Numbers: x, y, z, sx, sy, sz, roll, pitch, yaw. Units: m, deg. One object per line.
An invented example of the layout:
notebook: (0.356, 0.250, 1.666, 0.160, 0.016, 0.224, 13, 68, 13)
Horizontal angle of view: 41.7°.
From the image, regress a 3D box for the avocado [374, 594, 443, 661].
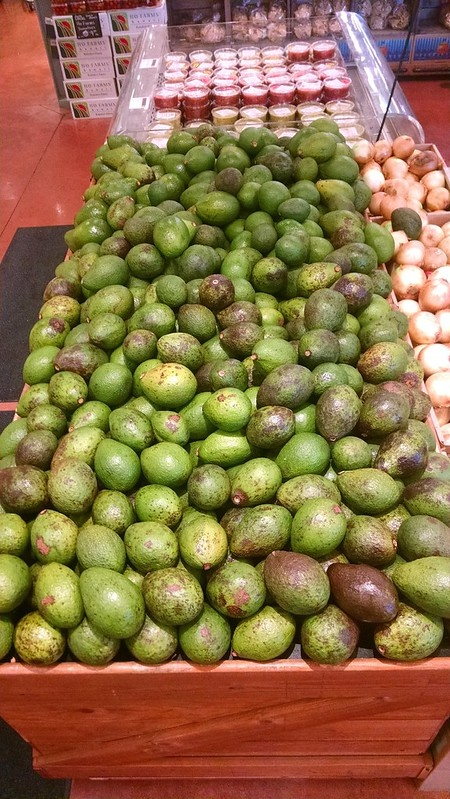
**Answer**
avocado: (0.468, 0.606, 1.514, 0.147, 0.093, 0.116, -15, 34, -25)

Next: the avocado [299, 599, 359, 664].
avocado: (0.269, 0.608, 1.497, 0.115, 0.134, 0.157, 4, 21, 22)

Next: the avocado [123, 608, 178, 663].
avocado: (-0.180, 0.616, 1.509, 0.129, 0.106, 0.101, -23, 8, -3)

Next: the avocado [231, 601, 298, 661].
avocado: (0.101, 0.612, 1.531, 0.169, 0.114, 0.135, -23, 20, 1)

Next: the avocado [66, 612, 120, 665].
avocado: (-0.335, 0.605, 1.536, 0.120, 0.147, 0.116, -8, 25, -16)

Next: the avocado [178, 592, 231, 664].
avocado: (-0.052, 0.625, 1.550, 0.129, 0.125, 0.198, -10, 14, -6)
